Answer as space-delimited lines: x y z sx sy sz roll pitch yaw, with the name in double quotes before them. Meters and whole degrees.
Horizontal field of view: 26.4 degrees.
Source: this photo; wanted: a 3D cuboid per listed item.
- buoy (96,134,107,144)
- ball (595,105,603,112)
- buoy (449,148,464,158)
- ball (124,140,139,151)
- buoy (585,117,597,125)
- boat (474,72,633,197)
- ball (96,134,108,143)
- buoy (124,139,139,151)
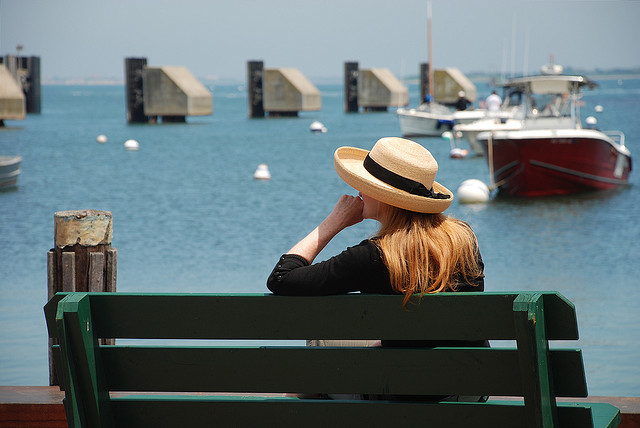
"buoy" -16.702 -5.674 103.709 0.787 0.364 0.712 4 35 -3
"ball" 14.951 -5.899 76.741 0.350 0.276 0.324 0 20 0
"buoy" 8.701 -4.170 93.801 0.759 0.401 0.617 -1 -9 2
"ball" -14.444 -5.173 103.262 0.882 0.565 0.814 2 12 0
"buoy" 14.512 -5.254 76.926 0.548 0.433 1.029 1 11 7
"boat" 12.642 -4.377 78.035 7.478 7.265 3.756 0 12 5
"ball" -16.669 -5.695 103.783 0.755 0.346 0.685 4 30 -5
"buoy" -14.435 -5.204 103.297 0.864 0.473 0.797 2 15 -3
